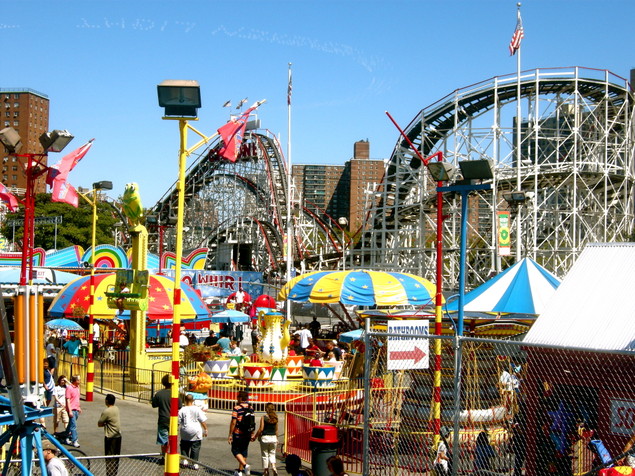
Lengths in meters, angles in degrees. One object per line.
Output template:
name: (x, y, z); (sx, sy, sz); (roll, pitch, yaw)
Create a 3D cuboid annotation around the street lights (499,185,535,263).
street lights: (5.717, -0.338, 33.736); (0.743, 1.914, 0.567); (-5, -8, 39)

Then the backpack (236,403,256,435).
backpack: (-1.440, 3.726, 23.835); (0.376, 0.580, 0.322); (-4, -6, -33)

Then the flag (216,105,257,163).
flag: (-1.682, -2.379, 25.176); (0.522, 1.550, 0.292); (21, -11, -28)

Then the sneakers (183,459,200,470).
sneakers: (-2.371, 4.270, 22.007); (0.141, 0.165, 0.517); (7, -6, -36)

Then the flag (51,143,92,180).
flag: (-7.164, -2.479, 35.996); (1.661, 0.727, 0.721); (1, -43, -20)
